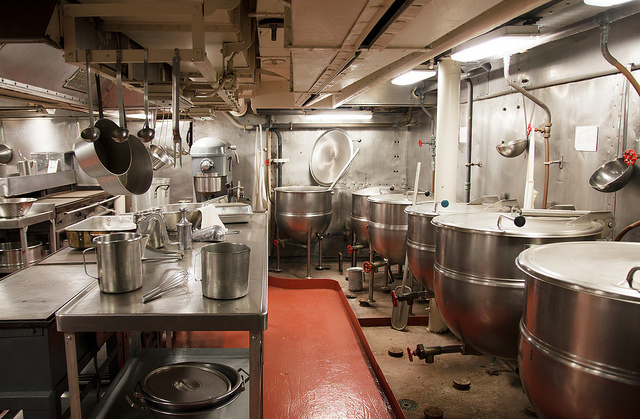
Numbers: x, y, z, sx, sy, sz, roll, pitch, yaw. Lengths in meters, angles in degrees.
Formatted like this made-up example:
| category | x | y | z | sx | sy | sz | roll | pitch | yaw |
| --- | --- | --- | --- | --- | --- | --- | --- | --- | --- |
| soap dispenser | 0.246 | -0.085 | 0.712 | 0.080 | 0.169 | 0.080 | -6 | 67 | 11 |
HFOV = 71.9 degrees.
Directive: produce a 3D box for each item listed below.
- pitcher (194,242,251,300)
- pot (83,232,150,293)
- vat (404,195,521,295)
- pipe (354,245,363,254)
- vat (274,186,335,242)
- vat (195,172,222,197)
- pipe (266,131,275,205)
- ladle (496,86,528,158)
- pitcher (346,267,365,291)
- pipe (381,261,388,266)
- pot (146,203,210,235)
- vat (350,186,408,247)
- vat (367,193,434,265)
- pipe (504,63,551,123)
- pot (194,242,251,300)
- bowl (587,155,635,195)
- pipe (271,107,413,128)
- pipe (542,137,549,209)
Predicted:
| category | x | y | z | sx | sy | sz | roll | pitch | yaw |
| --- | --- | --- | --- | --- | --- | --- | --- | --- | --- |
| pitcher | -0.557 | 0.359 | 2.613 | 0.347 | 0.319 | 0.277 | 4 | 11 | -3 |
| pot | -1.363 | 0.318 | 2.915 | 0.304 | 0.358 | 0.743 | -2 | 4 | -29 |
| vat | 1.310 | 0.301 | 4.258 | 0.992 | 0.872 | 0.968 | -2 | 4 | -18 |
| pipe | 0.566 | 0.588 | 6.558 | 0.079 | 0.103 | 0.302 | -5 | -7 | 17 |
| vat | -0.250 | 0.055 | 6.559 | 0.910 | 0.692 | 0.818 | 0 | 0 | 1 |
| vat | -1.592 | -0.360 | 6.331 | 0.309 | 0.327 | 0.305 | 0 | 0 | -3 |
| pipe | -0.831 | -0.690 | 7.350 | 0.138 | 1.225 | 0.108 | 0 | 5 | -3 |
| ladle | 1.888 | -0.864 | 4.359 | 0.161 | 0.646 | 0.284 | 3 | 9 | -5 |
| pitcher | 0.502 | 0.974 | 6.116 | 0.289 | 0.318 | 0.268 | 1 | 7 | 8 |
| pipe | 0.816 | 0.694 | 5.625 | 0.054 | 0.063 | 0.162 | -1 | -15 | 8 |
| pot | -1.296 | 0.087 | 4.083 | 0.467 | 0.261 | 1.413 | 0 | 3 | -15 |
| vat | 0.771 | 0.062 | 6.317 | 0.813 | 0.832 | 0.830 | -1 | 7 | -5 |
| vat | 0.952 | 0.199 | 5.548 | 0.866 | 0.666 | 0.909 | -2 | 12 | -2 |
| pipe | 1.905 | -1.080 | 4.047 | 0.389 | 0.567 | 0.509 | 3 | 4 | 25 |
| pot | -0.564 | 0.373 | 2.646 | 0.276 | 0.322 | 0.210 | 0 | 4 | -13 |
| bowl | 2.288 | -0.283 | 3.466 | 0.185 | 0.294 | 0.268 | 0 | 4 | -12 |
| pipe | 0.351 | -1.509 | 7.327 | 2.299 | 0.338 | 0.281 | 1 | 4 | 2 |
| pipe | 2.073 | -0.337 | 4.067 | 0.055 | 0.650 | 0.224 | 3 | 5 | 27 |
